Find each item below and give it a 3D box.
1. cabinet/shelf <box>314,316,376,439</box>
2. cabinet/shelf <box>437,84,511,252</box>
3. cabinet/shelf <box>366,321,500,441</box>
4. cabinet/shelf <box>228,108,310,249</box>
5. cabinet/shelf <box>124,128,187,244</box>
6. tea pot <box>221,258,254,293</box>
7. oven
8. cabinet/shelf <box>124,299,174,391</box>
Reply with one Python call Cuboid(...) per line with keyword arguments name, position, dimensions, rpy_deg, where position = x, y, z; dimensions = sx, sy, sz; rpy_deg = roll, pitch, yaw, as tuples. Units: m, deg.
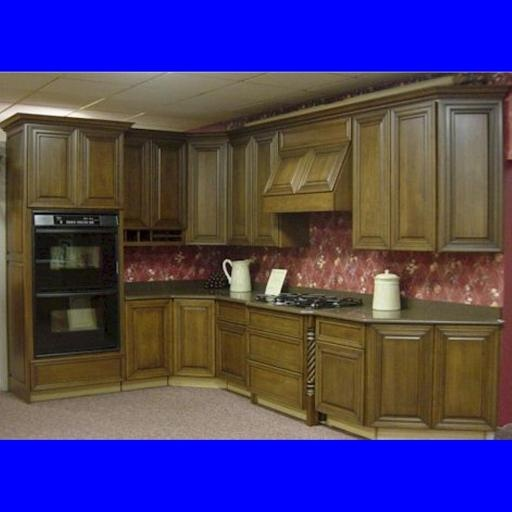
Cuboid(name="cabinet/shelf", position=(0.708, 0.779, 3.595), dimensions=(0.429, 0.753, 0.502), rpy_deg=(5, 8, 40))
Cuboid(name="cabinet/shelf", position=(1.361, -0.515, 3.138), dimensions=(0.390, 0.961, 0.133), rpy_deg=(-1, 3, 16))
Cuboid(name="cabinet/shelf", position=(1.104, 0.799, 3.339), dimensions=(0.862, 0.737, 0.492), rpy_deg=(2, -1, 0))
Cuboid(name="cabinet/shelf", position=(0.049, -0.646, 4.769), dimensions=(0.901, 1.108, 0.281), rpy_deg=(1, 4, 45))
Cuboid(name="cabinet/shelf", position=(-1.108, -0.729, 5.213), dimensions=(0.773, 1.206, 0.392), rpy_deg=(1, 27, -9))
Cuboid(name="tea pot", position=(-0.178, 0.208, 5.015), dimensions=(0.248, 0.321, 0.304), rpy_deg=(-2, 3, -13))
Cuboid(name="oven", position=(-1.701, 0.306, 4.551), dimensions=(0.817, 1.385, 0.714), rpy_deg=(1, -6, -38))
Cuboid(name="cabinet/shelf", position=(-0.988, 0.809, 4.894), dimensions=(0.521, 0.816, 0.598), rpy_deg=(-1, -3, -6))
